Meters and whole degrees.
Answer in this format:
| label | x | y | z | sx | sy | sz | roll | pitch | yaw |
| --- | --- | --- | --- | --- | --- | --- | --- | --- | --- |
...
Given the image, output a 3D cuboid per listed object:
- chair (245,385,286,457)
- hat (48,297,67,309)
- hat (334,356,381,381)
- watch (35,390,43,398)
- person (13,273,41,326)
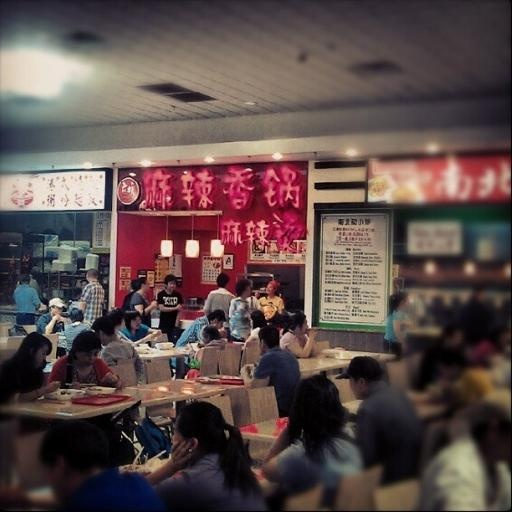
| label | x | y | z | sx | sy | sz | roll | pitch | yaw |
| --- | --- | --- | --- | --- | --- | --- | --- | --- | --- |
| chair | 0.042 | 1.085 | 3.314 | 0.283 | 0.432 | 0.306 | -3 | -14 | 16 |
| hat | -2.954 | 0.709 | 7.488 | 0.299 | 0.160 | 0.420 | 2 | -3 | -38 |
| hat | 0.542 | 0.590 | 2.686 | 0.238 | 0.119 | 0.156 | 4 | -7 | 14 |
| watch | -1.397 | 0.891 | 3.237 | 0.032 | 0.026 | 0.031 | 5 | -3 | -29 |
| person | -3.307 | 0.624 | 7.251 | 0.340 | 0.721 | 0.872 | 3 | -4 | -23 |
